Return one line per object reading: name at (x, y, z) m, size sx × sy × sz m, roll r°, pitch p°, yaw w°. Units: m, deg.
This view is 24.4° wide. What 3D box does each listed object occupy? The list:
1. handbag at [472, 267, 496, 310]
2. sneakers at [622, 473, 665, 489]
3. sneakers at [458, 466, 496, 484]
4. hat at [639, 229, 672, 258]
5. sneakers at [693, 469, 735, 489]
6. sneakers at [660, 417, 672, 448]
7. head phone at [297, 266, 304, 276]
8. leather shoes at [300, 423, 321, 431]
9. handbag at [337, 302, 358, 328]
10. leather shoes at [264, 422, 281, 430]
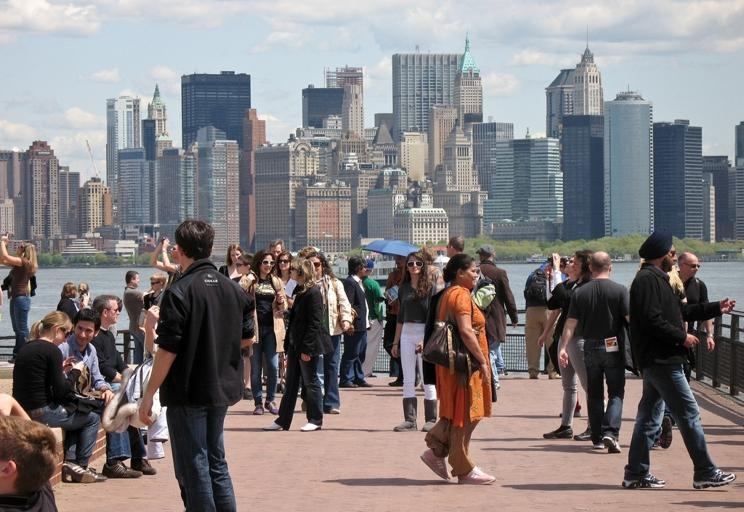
handbag at (1.530, 0.453, 23.018) m, size 0.283 × 0.221 × 0.621 m, roll 13°, pitch 34°, yaw -9°
sneakers at (3.257, 2.669, 20.240) m, size 0.524 × 0.201 × 0.174 m, roll -2°, pitch 2°, yaw 0°
sneakers at (1.288, 2.629, 20.447) m, size 0.490 × 0.191 × 0.176 m, roll -1°, pitch 1°, yaw 2°
hat at (3.401, -0.102, 20.513) m, size 0.395 × 0.229 × 0.321 m, roll -30°, pitch -32°, yaw 34°
sneakers at (4.062, 2.608, 20.085) m, size 0.500 × 0.254 × 0.297 m, roll 0°, pitch 3°, yaw -6°
sneakers at (3.794, 2.240, 21.753) m, size 0.173 × 0.385 × 0.202 m, roll 0°, pitch 0°, yaw 19°
head phone at (-0.929, 0.214, 22.970) m, size 0.082 × 0.094 × 0.091 m, roll -3°, pitch 4°, yaw -16°
leather shoes at (-0.795, 2.301, 23.068) m, size 0.294 × 0.092 × 0.099 m, roll 2°, pitch -1°, yaw -5°
handbag at (-0.338, 0.872, 24.001) m, size 0.245 × 0.291 × 0.142 m, roll 2°, pitch -9°, yaw 10°
leather shoes at (-1.309, 2.284, 23.046) m, size 0.236 × 0.088 × 0.094 m, roll 4°, pitch -2°, yaw 1°
